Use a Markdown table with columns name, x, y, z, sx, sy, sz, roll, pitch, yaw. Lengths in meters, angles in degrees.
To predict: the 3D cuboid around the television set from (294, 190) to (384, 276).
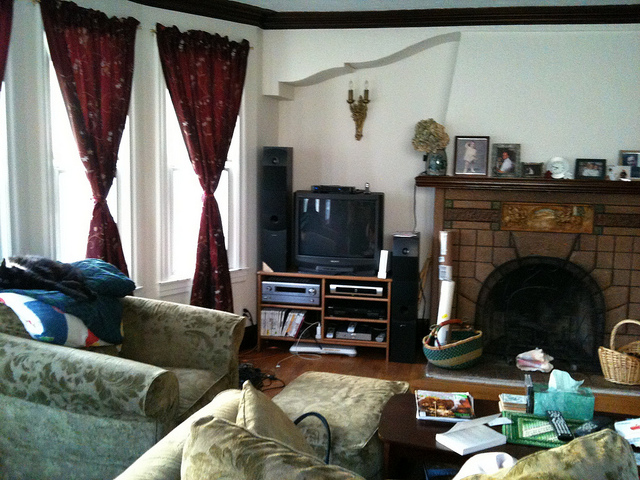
| name | x | y | z | sx | sy | sz | roll | pitch | yaw |
| --- | --- | --- | --- | --- | --- | --- | --- | --- | --- |
| television set | 0.233 | -0.054 | 4.741 | 0.850 | 0.729 | 0.477 | 3 | 6 | 22 |

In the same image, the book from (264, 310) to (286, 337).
| name | x | y | z | sx | sy | sz | roll | pitch | yaw |
| --- | --- | --- | --- | --- | --- | --- | --- | --- | --- |
| book | -0.392 | 0.707 | 4.716 | 0.203 | 0.245 | 0.258 | 3 | 1 | 4 |

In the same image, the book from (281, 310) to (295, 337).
| name | x | y | z | sx | sy | sz | roll | pitch | yaw |
| --- | --- | --- | --- | --- | --- | --- | --- | --- | --- |
| book | -0.280 | 0.720 | 4.559 | 0.042 | 0.170 | 0.177 | 12 | -2 | 4 |

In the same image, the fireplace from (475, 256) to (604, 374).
| name | x | y | z | sx | sy | sz | roll | pitch | yaw |
| --- | --- | --- | --- | --- | --- | --- | --- | --- | --- |
| fireplace | 1.836 | 0.598 | 4.349 | 0.966 | 0.846 | 0.301 | 0 | 2 | 12 |

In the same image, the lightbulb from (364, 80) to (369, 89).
| name | x | y | z | sx | sy | sz | roll | pitch | yaw |
| --- | --- | --- | --- | --- | --- | --- | --- | --- | --- |
| lightbulb | 0.422 | -1.402 | 4.748 | 0.038 | 0.080 | 0.049 | 1 | 5 | -5 |

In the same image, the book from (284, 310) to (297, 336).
| name | x | y | z | sx | sy | sz | roll | pitch | yaw |
| --- | --- | --- | --- | --- | --- | --- | --- | --- | --- |
| book | -0.262 | 0.724 | 4.581 | 0.047 | 0.296 | 0.037 | 24 | 14 | -15 |

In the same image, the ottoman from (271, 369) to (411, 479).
| name | x | y | z | sx | sy | sz | roll | pitch | yaw |
| --- | --- | --- | --- | --- | --- | --- | --- | --- | --- |
| ottoman | 0.048 | 0.896 | 2.739 | 0.606 | 0.232 | 0.616 | 5 | 15 | 25 |

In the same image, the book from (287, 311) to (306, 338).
| name | x | y | z | sx | sy | sz | roll | pitch | yaw |
| --- | --- | --- | --- | --- | --- | --- | --- | --- | --- |
| book | -0.202 | 0.721 | 4.541 | 0.056 | 0.196 | 0.149 | 17 | -2 | -5 |

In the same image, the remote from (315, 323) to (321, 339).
| name | x | y | z | sx | sy | sz | roll | pitch | yaw |
| --- | --- | --- | --- | --- | --- | --- | --- | --- | --- |
| remote | -0.016 | 0.784 | 4.576 | 0.039 | 0.133 | 0.063 | 0 | 5 | -10 |

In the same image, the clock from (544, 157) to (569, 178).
| name | x | y | z | sx | sy | sz | roll | pitch | yaw |
| --- | --- | --- | --- | --- | --- | --- | --- | --- | --- |
| clock | 1.910 | -0.586 | 4.252 | 0.179 | 0.166 | 0.040 | 1 | 9 | 9 |

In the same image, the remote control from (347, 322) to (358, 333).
| name | x | y | z | sx | sy | sz | roll | pitch | yaw |
| --- | --- | --- | --- | --- | --- | --- | --- | --- | --- |
| remote control | 0.276 | 0.753 | 4.580 | 0.061 | 0.023 | 0.098 | 2 | 22 | 18 |

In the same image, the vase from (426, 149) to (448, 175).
| name | x | y | z | sx | sy | sz | roll | pitch | yaw |
| --- | --- | --- | --- | --- | --- | --- | --- | --- | --- |
| vase | 0.974 | -0.641 | 4.404 | 0.204 | 0.254 | 0.188 | -1 | 8 | 0 |

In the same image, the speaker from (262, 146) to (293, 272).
| name | x | y | z | sx | sy | sz | roll | pitch | yaw |
| --- | --- | --- | --- | --- | --- | --- | --- | --- | --- |
| speaker | -0.372 | -0.267 | 4.663 | 0.252 | 1.070 | 0.329 | 1 | 5 | 2 |

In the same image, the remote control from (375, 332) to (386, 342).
| name | x | y | z | sx | sy | sz | roll | pitch | yaw |
| --- | --- | --- | --- | --- | --- | --- | --- | --- | --- |
| remote control | 0.513 | 0.823 | 4.494 | 0.074 | 0.051 | 0.117 | 3 | 5 | 18 |

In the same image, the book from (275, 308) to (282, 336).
| name | x | y | z | sx | sy | sz | roll | pitch | yaw |
| --- | --- | --- | --- | --- | --- | --- | --- | --- | --- |
| book | -0.369 | 0.717 | 4.584 | 0.036 | 0.217 | 0.020 | -1 | 5 | -20 |

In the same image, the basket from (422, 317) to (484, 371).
| name | x | y | z | sx | sy | sz | roll | pitch | yaw |
| --- | --- | --- | --- | --- | --- | --- | --- | --- | --- |
| basket | 1.109 | 0.803 | 4.247 | 0.363 | 0.328 | 0.472 | 1 | -25 | -13 |

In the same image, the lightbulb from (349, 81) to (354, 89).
| name | x | y | z | sx | sy | sz | roll | pitch | yaw |
| --- | --- | --- | --- | --- | --- | --- | --- | --- | --- |
| lightbulb | 0.279 | -1.401 | 4.759 | 0.035 | 0.072 | 0.062 | 3 | 5 | 19 |

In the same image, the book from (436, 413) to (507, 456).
| name | x | y | z | sx | sy | sz | roll | pitch | yaw |
| --- | --- | --- | --- | --- | --- | --- | --- | --- | --- |
| book | 0.660 | 0.810 | 2.368 | 0.243 | 0.107 | 0.162 | -2 | 4 | -34 |

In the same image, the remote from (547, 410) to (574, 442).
| name | x | y | z | sx | sy | sz | roll | pitch | yaw |
| --- | --- | --- | --- | --- | --- | --- | --- | --- | --- |
| remote | 1.101 | 0.848 | 2.424 | 0.078 | 0.023 | 0.234 | -3 | 7 | 11 |
